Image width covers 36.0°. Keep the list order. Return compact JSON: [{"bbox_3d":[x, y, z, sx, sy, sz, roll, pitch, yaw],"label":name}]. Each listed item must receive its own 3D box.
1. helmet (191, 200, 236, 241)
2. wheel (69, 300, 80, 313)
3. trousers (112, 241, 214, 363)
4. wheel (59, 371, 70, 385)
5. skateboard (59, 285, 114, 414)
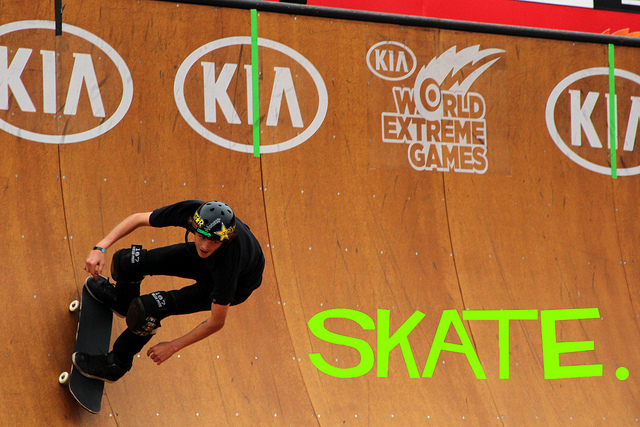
[{"bbox_3d":[-1.093,0.081,10.038,0.459,0.433,0.208,5,-16,-7],"label":"helmet"},{"bbox_3d":[-2.697,1.023,10.789,0.109,0.117,0.114,-33,-7,-4],"label":"wheel"},{"bbox_3d":[-1.547,0.688,10.645,1.438,0.853,0.510,-17,-35,-37],"label":"trousers"},{"bbox_3d":[-2.762,1.775,10.584,0.109,0.131,0.043,1,-10,22],"label":"wheel"},{"bbox_3d":[-2.538,1.478,10.690,0.395,1.654,0.244,18,-27,-40],"label":"skateboard"}]
